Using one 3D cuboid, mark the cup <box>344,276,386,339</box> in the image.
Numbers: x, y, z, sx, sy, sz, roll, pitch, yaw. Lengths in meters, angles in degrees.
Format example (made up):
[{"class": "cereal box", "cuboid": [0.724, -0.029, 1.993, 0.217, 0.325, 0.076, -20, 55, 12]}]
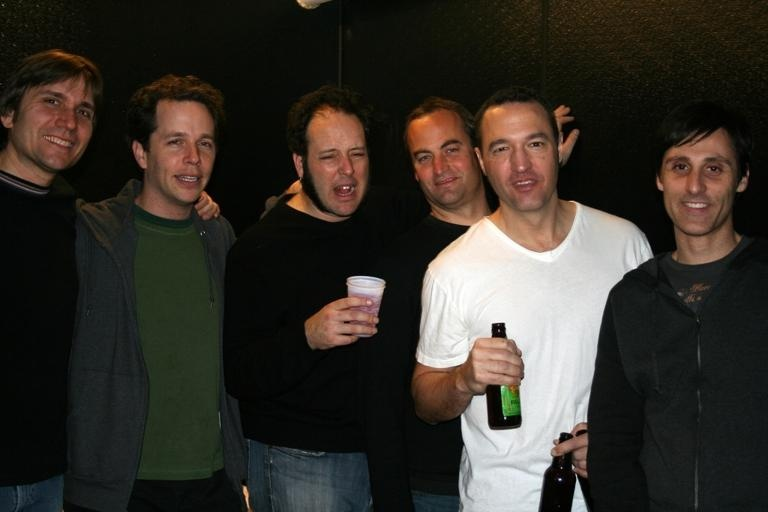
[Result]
[{"class": "cup", "cuboid": [-0.073, 0.198, 3.083, 0.175, 0.207, 0.200, -2, 12, 0]}]
